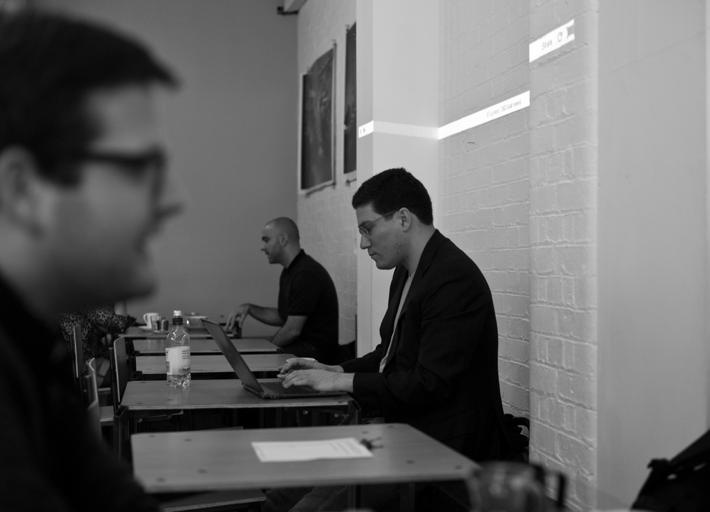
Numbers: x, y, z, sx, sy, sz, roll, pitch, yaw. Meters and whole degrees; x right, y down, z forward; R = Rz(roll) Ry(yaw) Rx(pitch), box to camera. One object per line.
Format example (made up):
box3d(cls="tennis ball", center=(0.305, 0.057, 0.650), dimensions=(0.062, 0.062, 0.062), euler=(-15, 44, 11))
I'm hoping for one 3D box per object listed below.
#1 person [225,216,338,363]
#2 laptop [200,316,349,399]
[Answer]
box3d(cls="person", center=(-0.512, 0.556, 4.668), dimensions=(0.791, 1.625, 0.673), euler=(-4, -3, 29))
box3d(cls="laptop", center=(-0.354, 0.325, 2.135), dimensions=(0.332, 0.218, 0.340), euler=(0, 0, -22))
